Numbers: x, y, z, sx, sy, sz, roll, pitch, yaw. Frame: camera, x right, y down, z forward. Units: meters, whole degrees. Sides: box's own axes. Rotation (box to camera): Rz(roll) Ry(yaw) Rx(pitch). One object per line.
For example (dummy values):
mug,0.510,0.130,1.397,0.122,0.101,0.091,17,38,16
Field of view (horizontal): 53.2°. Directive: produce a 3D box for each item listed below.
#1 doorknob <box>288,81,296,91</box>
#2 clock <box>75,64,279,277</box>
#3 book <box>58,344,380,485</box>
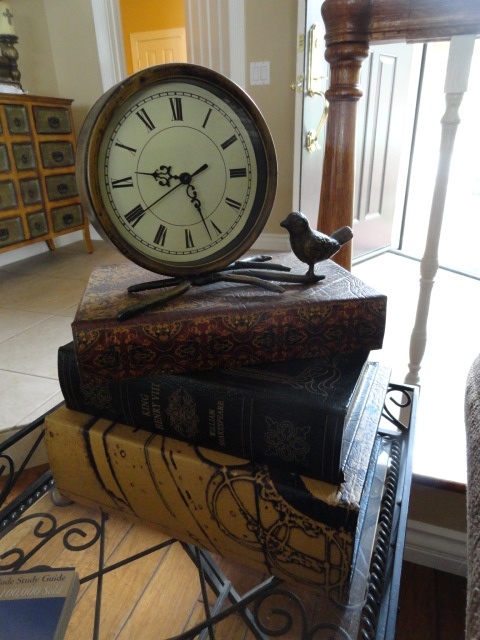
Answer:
doorknob,0.316,-1.406,2.880,0.018,0.061,0.045,21,15,-19
clock,-0.072,-0.168,0.564,0.233,0.231,0.072,-15,28,-28
book,-0.034,0.082,0.636,0.380,0.125,0.189,7,10,21
